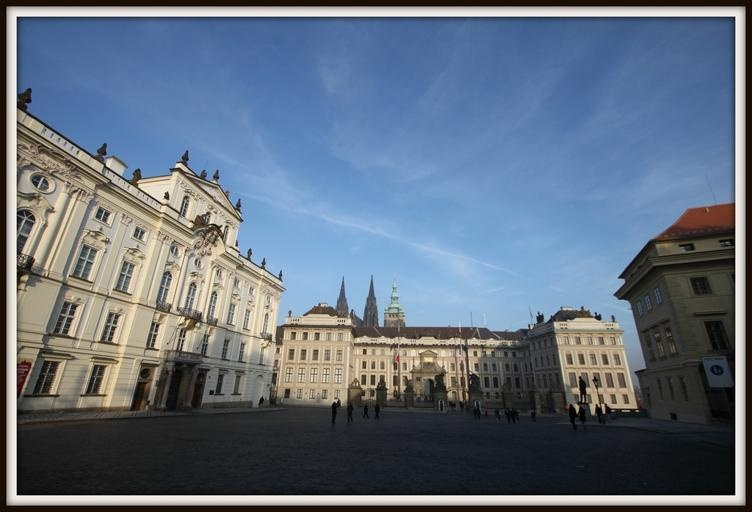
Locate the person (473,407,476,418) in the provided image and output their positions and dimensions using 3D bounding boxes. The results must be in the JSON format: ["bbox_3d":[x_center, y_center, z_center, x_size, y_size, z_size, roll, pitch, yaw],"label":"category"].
[{"bbox_3d":[11.818,18.538,40.300,0.299,1.022,1.168,-5,-22,15],"label":"person"}]

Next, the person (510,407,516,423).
[{"bbox_3d":[13.620,15.840,33.706,0.506,1.075,1.650,-6,-22,19],"label":"person"}]
